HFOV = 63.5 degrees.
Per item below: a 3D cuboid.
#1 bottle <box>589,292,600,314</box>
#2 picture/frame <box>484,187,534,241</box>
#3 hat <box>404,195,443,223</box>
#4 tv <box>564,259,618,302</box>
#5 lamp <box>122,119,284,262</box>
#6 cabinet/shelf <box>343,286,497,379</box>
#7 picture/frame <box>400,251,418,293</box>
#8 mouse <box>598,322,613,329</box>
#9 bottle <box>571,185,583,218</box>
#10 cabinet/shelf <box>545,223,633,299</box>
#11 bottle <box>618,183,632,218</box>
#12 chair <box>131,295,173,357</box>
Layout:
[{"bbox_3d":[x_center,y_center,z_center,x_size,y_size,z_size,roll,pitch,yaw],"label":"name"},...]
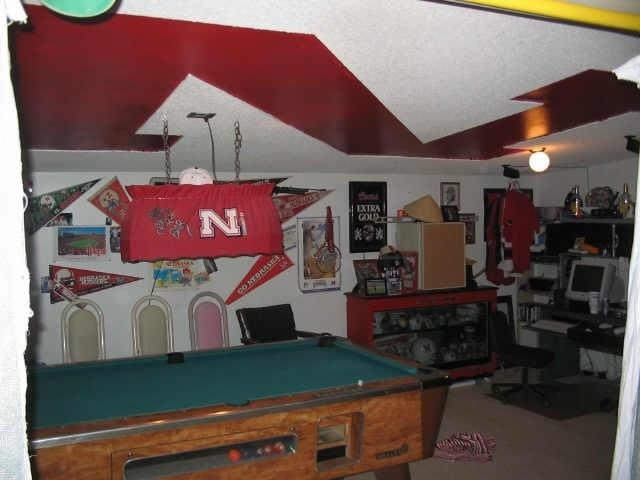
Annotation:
[{"bbox_3d":[3.090,0.714,5.821,0.119,0.250,0.126,-1,4,0],"label":"bottle"},{"bbox_3d":[2.696,-0.363,7.238,0.895,0.727,0.286,-3,5,-29],"label":"picture/frame"},{"bbox_3d":[1.244,-0.374,6.237,0.458,0.322,0.276,0,4,10],"label":"hat"},{"bbox_3d":[3.149,0.464,6.067,0.226,0.466,0.531,2,4,-34],"label":"tv"},{"bbox_3d":[-0.759,-0.128,3.422,1.051,0.498,0.183,-2,5,-22],"label":"lamp"},{"bbox_3d":[1.266,1.145,6.432,2.313,1.030,0.902,3,2,-28],"label":"cabinet/shelf"},{"bbox_3d":[1.062,0.375,6.238,0.110,0.466,0.322,-2,4,-14],"label":"picture/frame"},{"bbox_3d":[2.947,0.889,5.342,0.130,0.034,0.158,2,5,31],"label":"mouse"},{"bbox_3d":[3.090,-0.462,6.209,0.102,0.367,0.217,1,5,27],"label":"bottle"},{"bbox_3d":[3.144,0.233,5.994,0.534,0.860,0.947,2,-2,-22],"label":"cabinet/shelf"},{"bbox_3d":[3.376,-0.428,5.707,0.152,0.361,0.517,2,5,30],"label":"bottle"},{"bbox_3d":[-1.623,0.817,5.002,0.441,0.703,0.422,4,3,-22],"label":"chair"}]
